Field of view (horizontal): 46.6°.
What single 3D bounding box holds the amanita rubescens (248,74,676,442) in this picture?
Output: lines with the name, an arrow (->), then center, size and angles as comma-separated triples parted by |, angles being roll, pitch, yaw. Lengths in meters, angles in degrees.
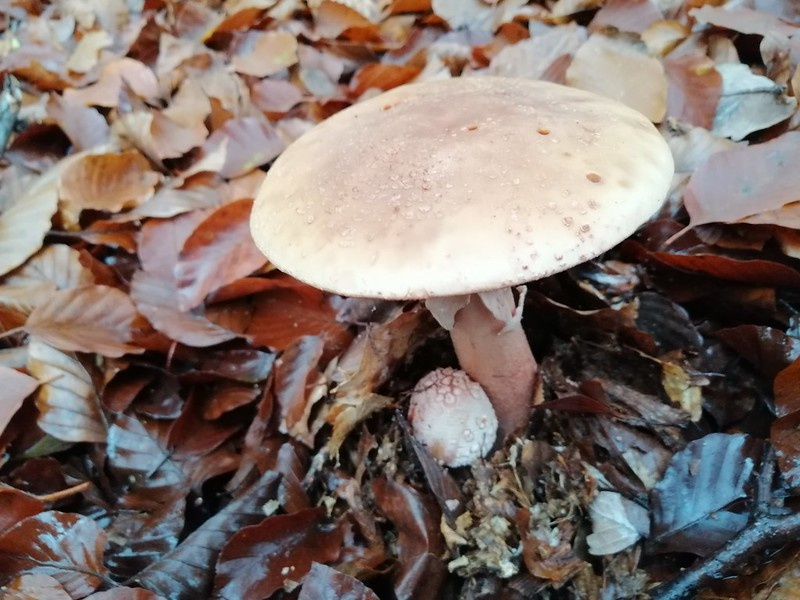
amanita rubescens -> 0.209, 0.040, 2.099 | 0.583, 0.543, 0.437 | -7, 86, 12
